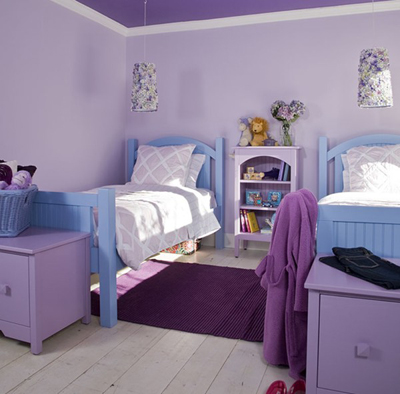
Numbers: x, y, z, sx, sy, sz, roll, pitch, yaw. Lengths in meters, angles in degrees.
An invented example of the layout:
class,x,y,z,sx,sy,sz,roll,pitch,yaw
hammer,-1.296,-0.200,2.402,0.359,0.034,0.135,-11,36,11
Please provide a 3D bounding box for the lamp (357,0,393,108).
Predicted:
class,x,y,z,sx,sy,sz,roll,pitch,yaw
lamp,1.245,-0.857,2.438,0.224,0.418,0.158,3,6,29

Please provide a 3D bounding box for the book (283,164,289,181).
class,x,y,z,sx,sy,sz,roll,pitch,yaw
book,0.880,-0.257,3.485,0.046,0.175,0.126,4,7,35

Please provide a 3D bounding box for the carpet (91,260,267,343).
class,x,y,z,sx,sy,sz,roll,pitch,yaw
carpet,-0.054,0.683,2.503,0.992,0.009,0.976,9,24,39

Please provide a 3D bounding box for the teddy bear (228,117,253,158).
class,x,y,z,sx,sy,sz,roll,pitch,yaw
teddy bear,0.453,-0.691,3.631,0.189,0.335,0.206,-11,12,-33

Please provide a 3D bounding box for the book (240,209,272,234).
class,x,y,z,sx,sy,sz,roll,pitch,yaw
book,0.539,0.279,3.573,0.240,0.285,0.063,1,-6,-12

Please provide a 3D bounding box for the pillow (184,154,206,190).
class,x,y,z,sx,sy,sz,roll,pitch,yaw
pillow,-0.026,-0.260,3.773,0.243,0.351,0.068,9,-9,46

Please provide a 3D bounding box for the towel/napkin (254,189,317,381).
class,x,y,z,sx,sy,sz,roll,pitch,yaw
towel/napkin,0.364,0.383,1.491,0.253,0.822,0.336,2,6,20

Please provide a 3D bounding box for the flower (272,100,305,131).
class,x,y,z,sx,sy,sz,roll,pitch,yaw
flower,0.907,-0.841,3.431,0.255,0.201,0.272,24,49,16
